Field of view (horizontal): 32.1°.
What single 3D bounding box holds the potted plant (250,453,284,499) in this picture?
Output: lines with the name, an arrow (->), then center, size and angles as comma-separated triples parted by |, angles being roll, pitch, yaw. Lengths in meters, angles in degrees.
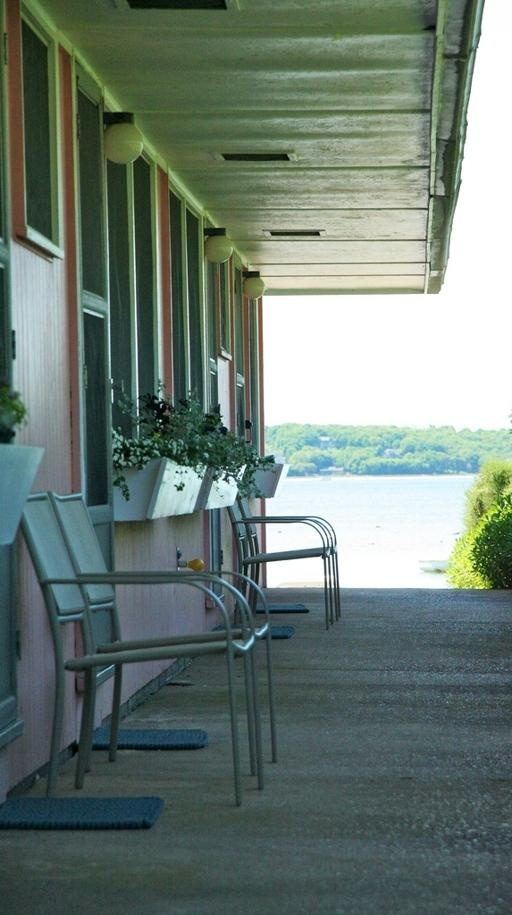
potted plant -> 0.084, 0.158, 7.181 | 0.179, 0.370, 0.283 | 13, -7, 24

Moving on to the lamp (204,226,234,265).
lamp -> -0.271, -1.384, 5.955 | 0.192, 0.268, 0.216 | -1, 1, -18

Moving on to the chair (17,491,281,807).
chair -> -0.331, 0.464, 2.668 | 0.783, 1.096, 0.635 | -2, -4, 15

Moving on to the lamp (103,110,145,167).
lamp -> -0.529, -1.269, 3.649 | 0.175, 0.248, 0.200 | -1, 4, 1
